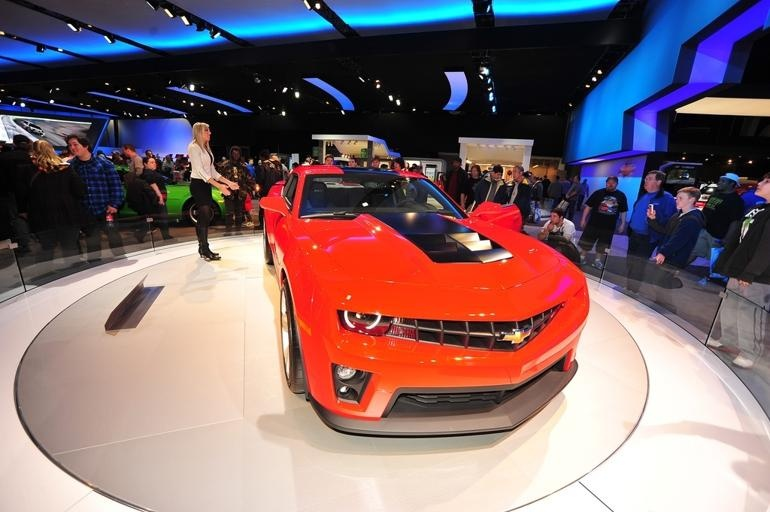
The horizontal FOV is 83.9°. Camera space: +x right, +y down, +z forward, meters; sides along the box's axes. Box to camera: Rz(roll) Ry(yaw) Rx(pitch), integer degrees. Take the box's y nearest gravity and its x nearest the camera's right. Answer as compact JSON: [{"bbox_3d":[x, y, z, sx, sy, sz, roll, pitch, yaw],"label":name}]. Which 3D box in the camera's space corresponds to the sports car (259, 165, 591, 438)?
[{"bbox_3d":[-0.044,-0.262,6.084,3.246,1.745,5.979,-4,20,-20],"label":"sports car"}]

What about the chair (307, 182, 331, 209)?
[{"bbox_3d":[-0.798,-0.702,4.896,0.234,0.312,0.274,0,17,-13],"label":"chair"}]

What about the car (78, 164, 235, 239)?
[{"bbox_3d":[-3.633,-1.032,7.512,2.893,0.904,1.317,1,12,0],"label":"car"}]
